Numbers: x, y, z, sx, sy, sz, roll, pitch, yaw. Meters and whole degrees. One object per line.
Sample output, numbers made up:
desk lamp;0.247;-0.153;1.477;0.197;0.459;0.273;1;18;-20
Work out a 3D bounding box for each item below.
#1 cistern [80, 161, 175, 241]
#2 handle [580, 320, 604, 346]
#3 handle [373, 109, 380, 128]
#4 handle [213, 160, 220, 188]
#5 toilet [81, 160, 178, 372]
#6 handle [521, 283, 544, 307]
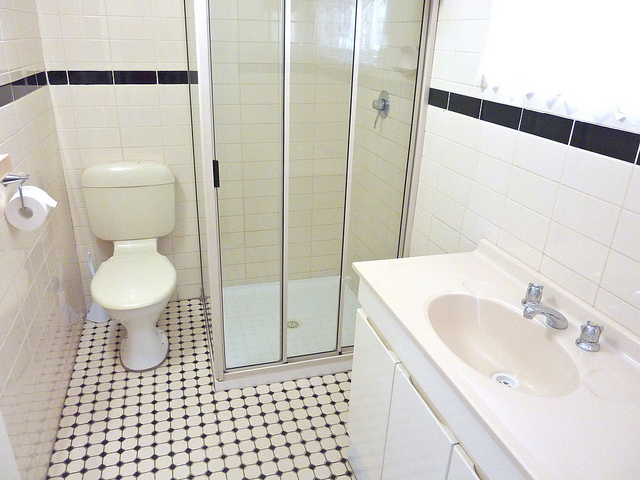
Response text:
cistern;-1.172;-0.248;2.797;0.412;0.382;0.233;-3;32;-11
handle;0.871;0.310;1.490;0.077;0.085;0.076;10;24;28
handle;0.292;-0.631;2.398;0.013;0.088;0.043;14;31;21
handle;-0.493;-0.313;2.194;0.017;0.137;0.041;16;32;23
toilet;-1.084;0.097;2.695;0.531;1.113;0.943;-6;27;-16
handle;0.748;0.203;1.628;0.076;0.091;0.077;10;32;19
